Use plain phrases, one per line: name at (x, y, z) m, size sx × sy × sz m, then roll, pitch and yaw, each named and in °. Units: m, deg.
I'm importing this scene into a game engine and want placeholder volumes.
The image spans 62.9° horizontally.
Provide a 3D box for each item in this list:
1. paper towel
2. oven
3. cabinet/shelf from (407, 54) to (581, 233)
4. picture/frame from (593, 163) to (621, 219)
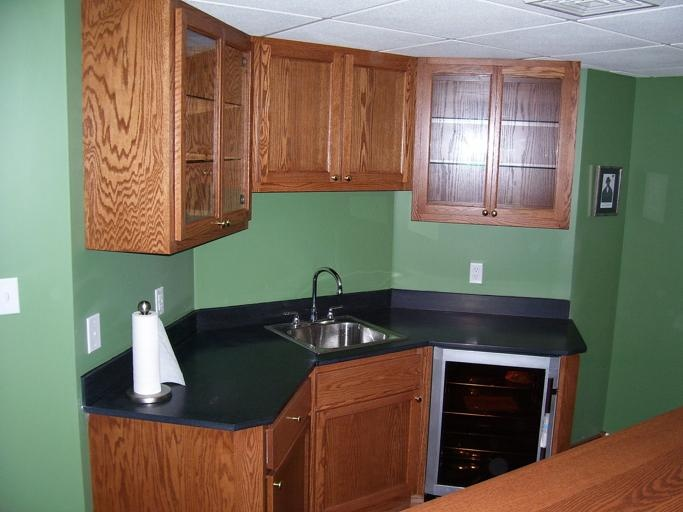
paper towel at (-0.852, 0.422, 2.439) m, size 0.283 × 0.385 × 0.220 m, roll 0°, pitch 2°, yaw -4°
oven at (0.872, 1.021, 3.471) m, size 0.824 × 0.972 × 0.768 m, roll 3°, pitch 0°, yaw -7°
cabinet/shelf at (0.884, -0.709, 3.268) m, size 0.998 × 0.890 × 0.371 m, roll 2°, pitch 6°, yaw 4°
picture/frame at (1.739, -0.452, 3.685) m, size 0.384 × 0.384 × 0.054 m, roll -5°, pitch 11°, yaw -34°
